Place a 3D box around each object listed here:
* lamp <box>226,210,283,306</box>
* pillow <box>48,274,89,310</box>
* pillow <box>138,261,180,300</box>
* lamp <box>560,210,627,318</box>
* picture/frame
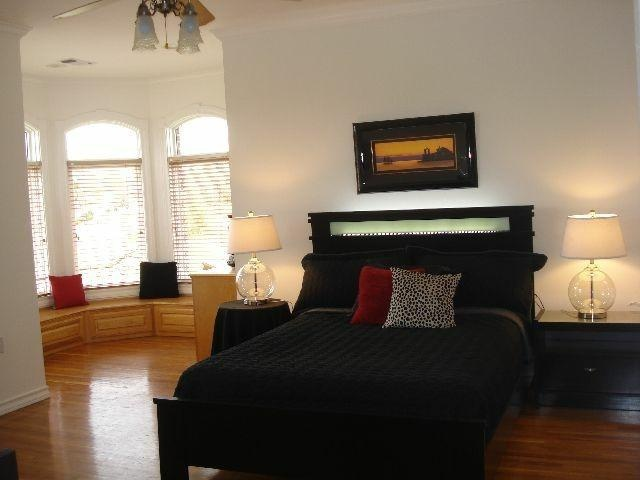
[{"bbox_3d":[-0.632,0.215,4.926,0.561,0.820,0.536,1,-2,-31],"label":"lamp"},{"bbox_3d":[-3.339,0.676,6.634,0.415,0.421,0.255,-5,5,-29],"label":"pillow"},{"bbox_3d":[-2.280,0.525,7.046,0.489,0.459,0.459,0,41,-16],"label":"pillow"},{"bbox_3d":[2.225,0.192,4.109,0.457,0.850,0.453,-1,5,22],"label":"lamp"},{"bbox_3d":[0.947,-0.838,4.770,0.844,0.514,0.041,-1,1,17],"label":"picture/frame"}]
